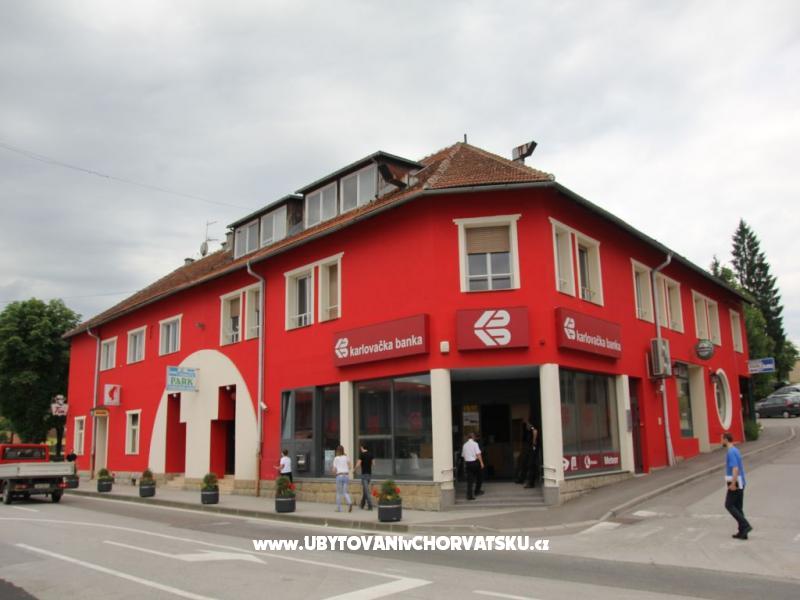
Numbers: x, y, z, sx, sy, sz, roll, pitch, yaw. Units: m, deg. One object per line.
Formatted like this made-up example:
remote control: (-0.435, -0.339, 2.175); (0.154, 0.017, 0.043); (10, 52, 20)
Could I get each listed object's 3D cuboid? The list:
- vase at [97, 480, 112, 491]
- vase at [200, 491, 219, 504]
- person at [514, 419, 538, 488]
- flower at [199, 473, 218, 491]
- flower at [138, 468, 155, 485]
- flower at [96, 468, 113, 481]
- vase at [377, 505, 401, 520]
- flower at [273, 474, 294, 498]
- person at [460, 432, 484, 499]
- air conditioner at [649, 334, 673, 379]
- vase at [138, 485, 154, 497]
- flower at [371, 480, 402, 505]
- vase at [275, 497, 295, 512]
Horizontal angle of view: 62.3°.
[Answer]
vase: (-12.882, 8.125, 28.823); (0.492, 0.387, 0.499); (0, -2, -2)
vase: (-6.699, 6.987, 23.404); (0.452, 0.314, 0.444); (7, -10, -43)
person: (4.291, 5.306, 22.593); (0.566, 0.823, 1.788); (4, 21, 12)
flower: (-6.797, 6.503, 23.633); (0.508, 0.547, 0.649); (0, -5, -17)
flower: (-10.036, 7.023, 26.278); (0.477, 0.514, 0.448); (3, -6, -44)
flower: (-13.075, 7.709, 29.340); (0.534, 0.454, 1.011); (1, -5, -24)
vase: (-0.325, 5.826, 18.263); (0.430, 0.432, 0.557); (1, -7, -9)
flower: (-3.602, 5.848, 20.715); (0.507, 0.631, 0.420); (1, -4, -18)
person: (2.275, 5.231, 20.927); (0.583, 1.883, 1.336); (-1, -4, 5)
air conditioner: (9.800, 2.189, 25.014); (0.689, 2.055, 1.157); (-10, -25, 39)
vase: (-9.918, 7.504, 25.978); (0.620, 0.471, 0.392); (3, -6, -23)
flower: (-0.330, 5.439, 18.743); (0.933, 0.957, 0.955); (-1, -4, 0)
vase: (-3.550, 6.327, 20.481); (0.460, 0.294, 0.466); (2, -8, -19)
